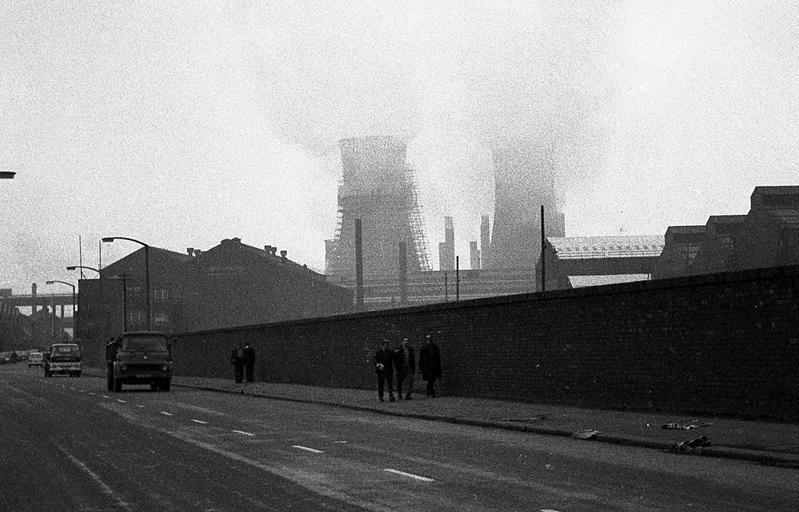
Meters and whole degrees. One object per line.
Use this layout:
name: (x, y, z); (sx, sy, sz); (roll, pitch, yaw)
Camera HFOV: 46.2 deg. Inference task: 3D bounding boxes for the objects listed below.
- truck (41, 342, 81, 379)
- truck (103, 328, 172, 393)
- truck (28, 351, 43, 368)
truck: (-26.338, 8.167, 73.413); (2.009, 1.823, 3.876); (2, -11, -17)
truck: (-12.940, 5.097, 46.336); (2.284, 2.662, 6.064); (1, -5, -29)
truck: (-43.482, 12.147, 111.607); (1.928, 1.833, 3.349); (1, -1, -11)
